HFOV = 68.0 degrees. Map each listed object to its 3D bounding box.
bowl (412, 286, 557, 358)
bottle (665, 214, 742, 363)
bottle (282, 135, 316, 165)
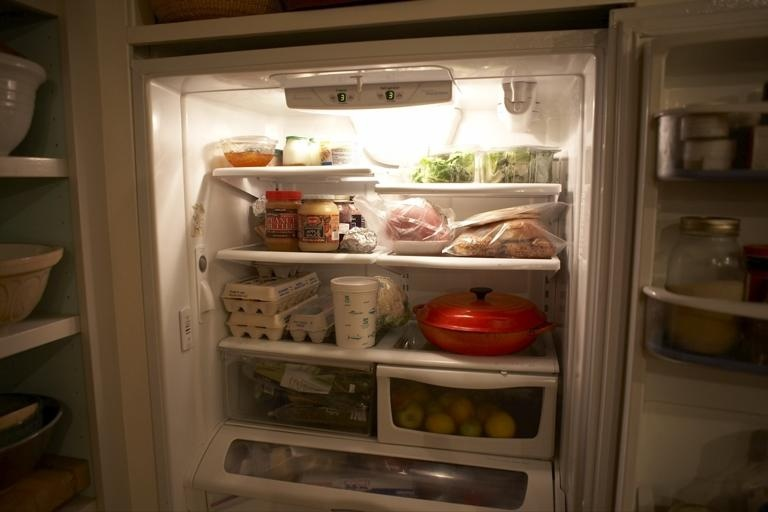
[{"bbox_3d":[0.354,0.233,2.087,0.484,0.226,0.235,-1,9,1],"label":"bowl"},{"bbox_3d":[0.909,0.083,1.621,0.195,0.383,0.097,3,10,24],"label":"bottle"},{"bbox_3d":[-0.325,-0.402,2.213,0.134,0.101,0.124,1,5,0],"label":"bottle"}]
